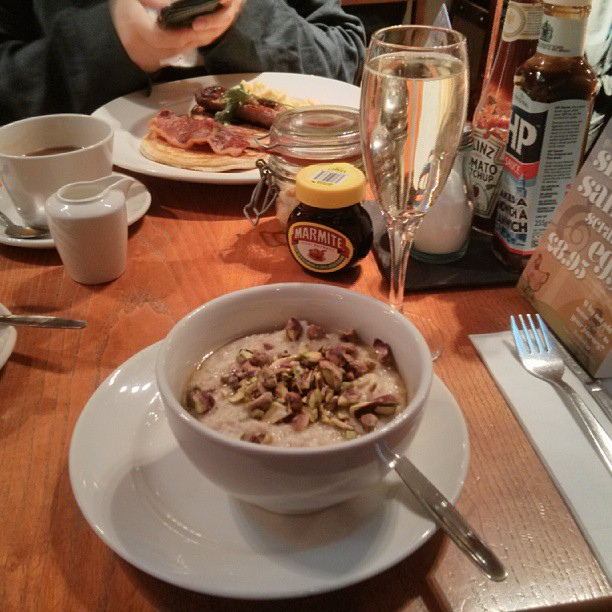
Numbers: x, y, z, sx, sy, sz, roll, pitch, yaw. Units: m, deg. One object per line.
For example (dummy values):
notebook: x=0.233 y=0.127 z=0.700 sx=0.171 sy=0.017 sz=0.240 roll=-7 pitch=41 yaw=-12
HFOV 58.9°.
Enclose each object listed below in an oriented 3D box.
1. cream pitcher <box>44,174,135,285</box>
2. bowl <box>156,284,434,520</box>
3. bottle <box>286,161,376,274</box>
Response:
cream pitcher: x=-0.327 y=-0.117 z=0.849 sx=0.121 sy=0.143 sz=0.145 roll=20 pitch=33 yaw=23
bowl: x=-0.009 y=0.059 z=0.484 sx=0.225 sy=0.102 sz=0.225 roll=-2 pitch=46 yaw=2
bottle: x=0.037 y=-0.128 z=0.804 sx=0.164 sy=0.189 sz=0.124 roll=0 pitch=31 yaw=6
